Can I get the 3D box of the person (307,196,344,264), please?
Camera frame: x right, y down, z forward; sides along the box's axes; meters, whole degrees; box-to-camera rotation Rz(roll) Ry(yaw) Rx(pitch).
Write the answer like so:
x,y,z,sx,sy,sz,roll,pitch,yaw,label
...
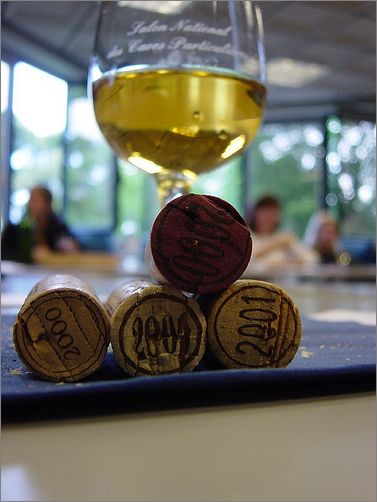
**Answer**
x,y,z,sx,sy,sz,roll,pitch,yaw,label
1.091,-0.195,4.057,0.222,0.180,0.785,3,17,10,person
